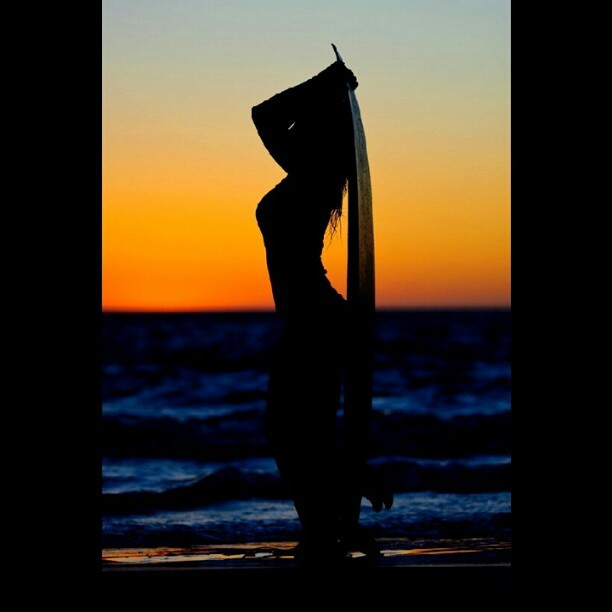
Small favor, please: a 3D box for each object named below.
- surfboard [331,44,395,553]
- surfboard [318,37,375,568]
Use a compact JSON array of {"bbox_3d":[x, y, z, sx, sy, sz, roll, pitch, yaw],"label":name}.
[{"bbox_3d":[0.157,0.055,4.651,0.180,1.742,0.192,-2,-10,21],"label":"surfboard"},{"bbox_3d":[0.125,0.003,4.686,0.159,1.612,0.119,2,-2,2],"label":"surfboard"}]
